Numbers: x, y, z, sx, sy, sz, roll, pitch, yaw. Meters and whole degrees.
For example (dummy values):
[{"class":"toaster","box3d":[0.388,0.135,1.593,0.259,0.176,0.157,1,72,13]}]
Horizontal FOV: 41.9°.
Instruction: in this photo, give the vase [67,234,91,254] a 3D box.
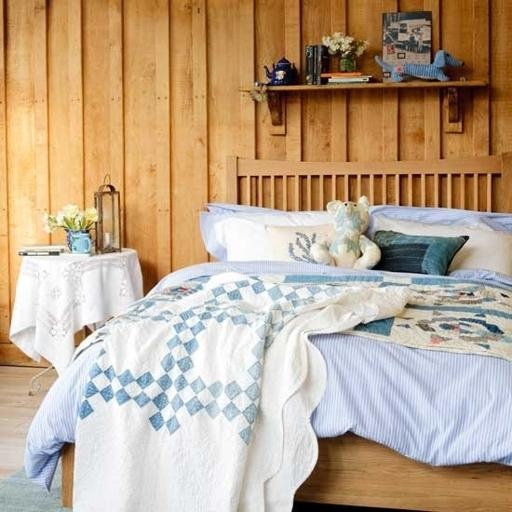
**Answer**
[{"class":"vase","box3d":[-0.855,-0.066,3.223,0.117,0.086,0.077,1,1,5]}]

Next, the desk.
[{"class":"desk","box3d":[-0.828,0.292,3.113,0.600,0.598,0.379,-4,5,-11]}]

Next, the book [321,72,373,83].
[{"class":"book","box3d":[0.422,-0.852,3.181,0.218,0.061,0.046,-2,5,2]}]

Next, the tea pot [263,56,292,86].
[{"class":"tea pot","box3d":[0.135,-0.922,3.301,0.168,0.130,0.122,6,16,10]}]

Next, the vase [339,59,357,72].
[{"class":"vase","box3d":[0.446,-0.932,3.247,0.086,0.089,0.139,-2,5,7]}]

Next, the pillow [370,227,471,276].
[{"class":"pillow","box3d":[0.664,-0.015,2.740,0.384,0.173,0.324,-1,6,18]}]

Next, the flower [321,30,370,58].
[{"class":"flower","box3d":[0.432,-1.011,3.232,0.177,0.115,0.138,-13,34,-42]}]

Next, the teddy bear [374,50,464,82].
[{"class":"teddy bear","box3d":[0.776,-0.907,3.205,0.400,0.159,0.138,-1,5,13]}]

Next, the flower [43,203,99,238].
[{"class":"flower","box3d":[-0.875,-0.175,3.309,0.203,0.147,0.214,2,3,21]}]

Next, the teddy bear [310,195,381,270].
[{"class":"teddy bear","box3d":[0.390,-0.099,2.843,0.278,0.293,0.405,-1,5,12]}]
